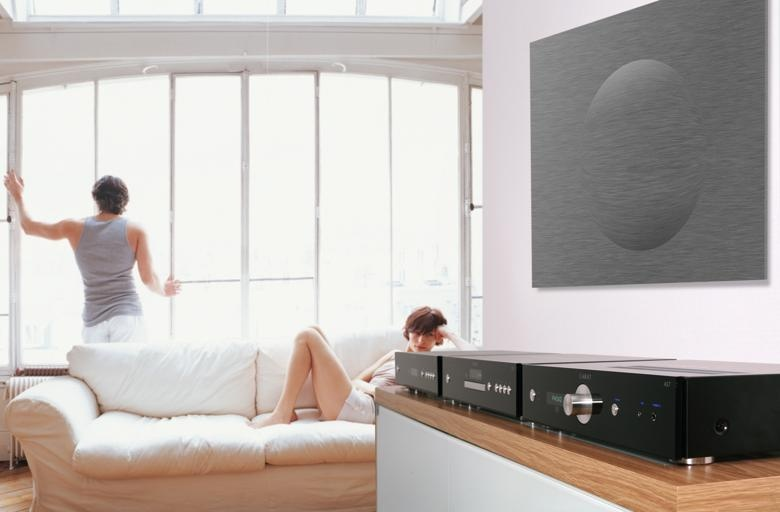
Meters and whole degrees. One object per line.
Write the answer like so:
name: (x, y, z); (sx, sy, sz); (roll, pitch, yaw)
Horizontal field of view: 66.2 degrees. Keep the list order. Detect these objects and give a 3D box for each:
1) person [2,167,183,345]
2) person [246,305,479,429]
person: (-1.946, 0.018, 3.789); (0.849, 1.043, 0.388); (0, 1, 10)
person: (-0.146, 0.648, 3.439); (1.306, 0.657, 0.418); (3, -9, -4)
